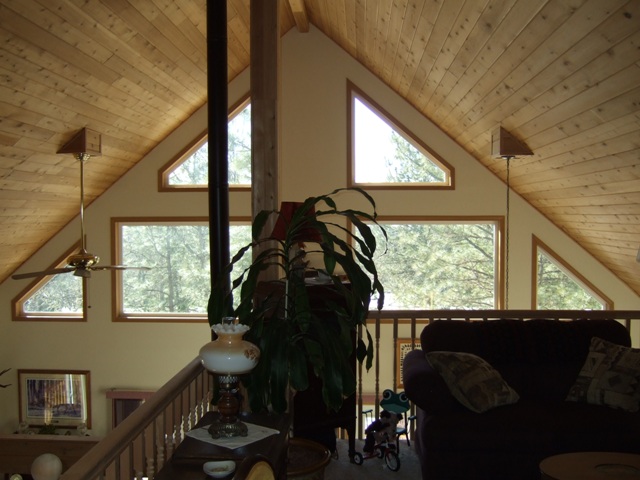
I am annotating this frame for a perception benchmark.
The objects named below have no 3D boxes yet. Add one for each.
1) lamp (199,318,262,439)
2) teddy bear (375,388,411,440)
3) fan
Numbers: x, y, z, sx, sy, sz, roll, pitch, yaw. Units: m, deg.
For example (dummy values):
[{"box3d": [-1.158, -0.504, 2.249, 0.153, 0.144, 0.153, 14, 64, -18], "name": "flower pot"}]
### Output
[{"box3d": [-0.519, 0.813, 3.411, 0.361, 0.584, 0.344, 6, -11, -43], "name": "lamp"}, {"box3d": [0.568, 1.310, 4.549, 0.249, 0.337, 0.187, 5, -9, 0], "name": "teddy bear"}, {"box3d": [-2.446, -0.351, 6.368, 1.634, 1.505, 1.533, 3, -2, -7], "name": "fan"}]
